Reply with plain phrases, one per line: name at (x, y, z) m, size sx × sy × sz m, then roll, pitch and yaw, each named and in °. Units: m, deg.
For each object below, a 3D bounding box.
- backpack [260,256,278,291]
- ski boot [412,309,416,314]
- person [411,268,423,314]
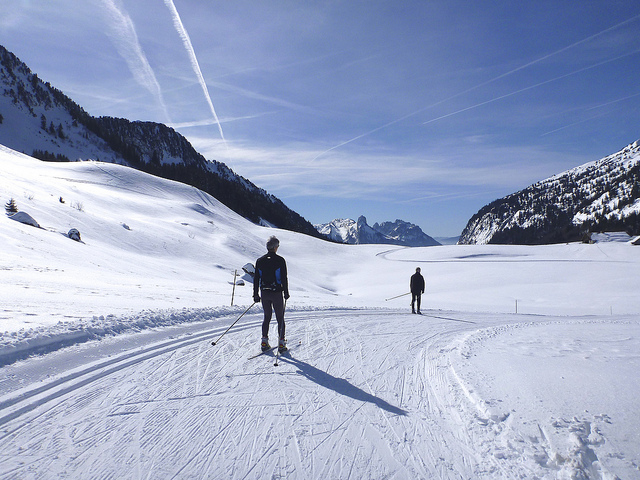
backpack at (-1.380, 0.964, 12.915) m, size 0.458 × 0.853 × 0.223 m, roll 2°, pitch -8°, yaw 10°
ski boot at (4.395, 3.423, 22.194) m, size 0.163 × 0.127 × 0.159 m, roll -6°, pitch 14°, yaw -18°
person at (4.553, 2.433, 22.186) m, size 0.590 × 1.969 × 1.281 m, roll 4°, pitch 1°, yaw 14°
